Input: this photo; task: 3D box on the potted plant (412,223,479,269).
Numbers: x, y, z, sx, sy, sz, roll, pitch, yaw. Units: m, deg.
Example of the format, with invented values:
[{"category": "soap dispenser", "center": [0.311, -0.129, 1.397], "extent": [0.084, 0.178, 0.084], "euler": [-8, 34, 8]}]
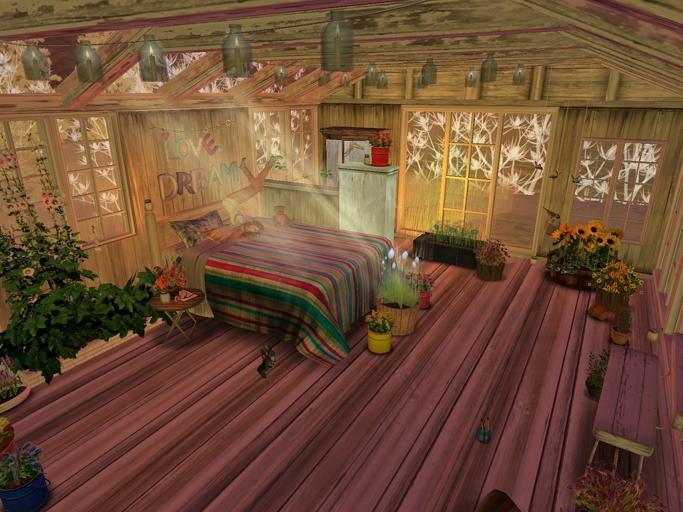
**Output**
[{"category": "potted plant", "center": [2.175, -0.164, 7.425], "extent": [1.156, 0.370, 1.052], "euler": [-10, 17, -43]}]

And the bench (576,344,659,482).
[{"category": "bench", "center": [2.367, 1.354, 3.281], "extent": [0.320, 0.333, 1.032], "euler": [14, 28, 30]}]

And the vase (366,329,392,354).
[{"category": "vase", "center": [0.448, 0.998, 4.730], "extent": [0.340, 0.256, 0.294], "euler": [-6, 11, -28]}]

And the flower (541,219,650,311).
[{"category": "flower", "center": [3.597, 0.164, 5.806], "extent": [1.504, 0.912, 1.525], "euler": [9, 15, 38]}]

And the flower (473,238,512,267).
[{"category": "flower", "center": [2.527, -0.073, 6.482], "extent": [0.560, 0.310, 0.465], "euler": [1, 9, 4]}]

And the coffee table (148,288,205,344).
[{"category": "coffee table", "center": [-2.062, 0.735, 4.748], "extent": [0.705, 0.442, 0.705], "euler": [13, 17, 36]}]

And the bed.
[{"category": "bed", "center": [-0.758, 0.226, 5.551], "extent": [2.870, 1.236, 2.002], "euler": [10, 23, 29]}]

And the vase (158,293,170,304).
[{"category": "vase", "center": [-2.111, 0.500, 4.593], "extent": [0.133, 0.113, 0.118], "euler": [2, 14, 4]}]

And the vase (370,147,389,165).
[{"category": "vase", "center": [0.696, -1.721, 6.784], "extent": [0.372, 0.267, 0.338], "euler": [-7, 13, -27]}]

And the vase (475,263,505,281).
[{"category": "vase", "center": [2.483, 0.265, 6.365], "extent": [0.385, 0.189, 0.332], "euler": [2, 11, 13]}]

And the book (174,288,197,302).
[{"category": "book", "center": [-1.915, 0.467, 4.701], "extent": [0.237, 0.052, 0.301], "euler": [-7, 19, -19]}]

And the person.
[{"category": "person", "center": [-1.582, -0.952, 6.466], "extent": [0.911, 1.516, 0.564], "euler": [14, 20, -33]}]
